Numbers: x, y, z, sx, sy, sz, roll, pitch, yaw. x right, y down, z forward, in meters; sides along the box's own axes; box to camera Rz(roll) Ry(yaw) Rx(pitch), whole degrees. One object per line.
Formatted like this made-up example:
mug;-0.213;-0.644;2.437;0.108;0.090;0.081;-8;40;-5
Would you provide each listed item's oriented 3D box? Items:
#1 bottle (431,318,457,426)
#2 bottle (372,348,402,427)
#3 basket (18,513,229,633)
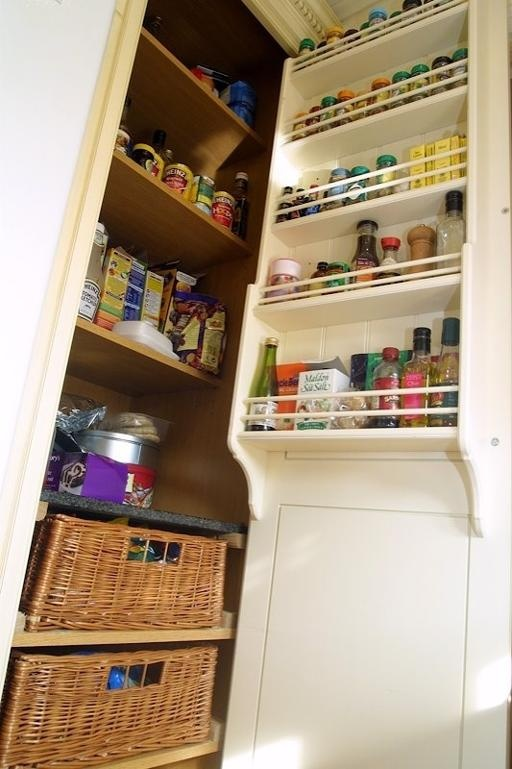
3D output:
bottle;0.331;-0.024;1.002;0.045;0.208;0.122;4;-11;18
bottle;0.243;0.005;1.059;0.051;0.168;0.172;5;-11;12
basket;-0.228;0.357;1.070;0.095;0.209;0.457;0;-13;35
